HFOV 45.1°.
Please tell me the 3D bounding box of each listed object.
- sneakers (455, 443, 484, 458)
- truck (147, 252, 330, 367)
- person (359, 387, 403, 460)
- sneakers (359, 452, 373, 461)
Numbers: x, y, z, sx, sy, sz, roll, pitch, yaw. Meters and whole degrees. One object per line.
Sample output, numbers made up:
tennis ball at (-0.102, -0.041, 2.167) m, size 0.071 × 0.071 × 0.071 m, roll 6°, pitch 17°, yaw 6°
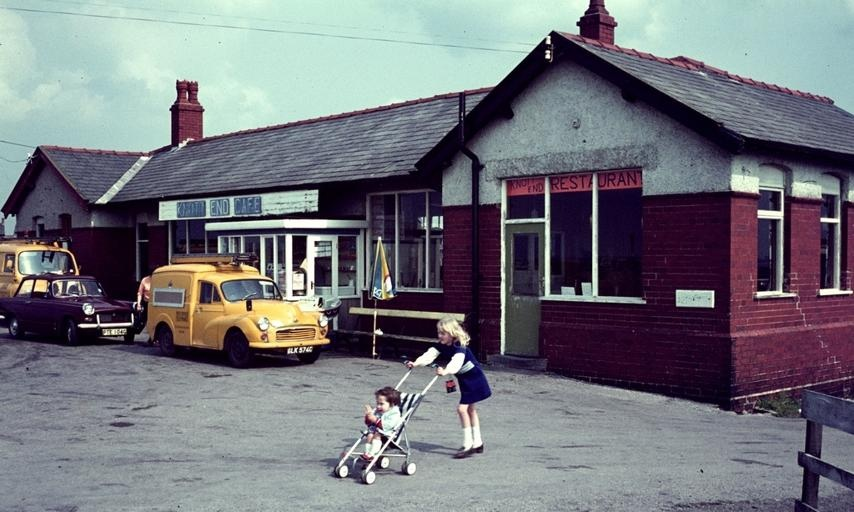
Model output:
sneakers at (0.841, 3.828, 20.144) m, size 0.575 × 0.212 × 0.222 m, roll 0°, pitch -7°, yaw -29°
truck at (-5.105, 1.477, 27.386) m, size 4.894 × 2.705 × 1.955 m, roll 10°, pitch 17°, yaw 33°
person at (-0.825, 3.168, 19.369) m, size 0.854 × 1.281 × 0.400 m, roll -9°, pitch 17°, yaw -34°
sneakers at (-1.122, 3.813, 19.356) m, size 0.187 × 0.120 × 0.265 m, roll 23°, pitch -9°, yaw 13°
